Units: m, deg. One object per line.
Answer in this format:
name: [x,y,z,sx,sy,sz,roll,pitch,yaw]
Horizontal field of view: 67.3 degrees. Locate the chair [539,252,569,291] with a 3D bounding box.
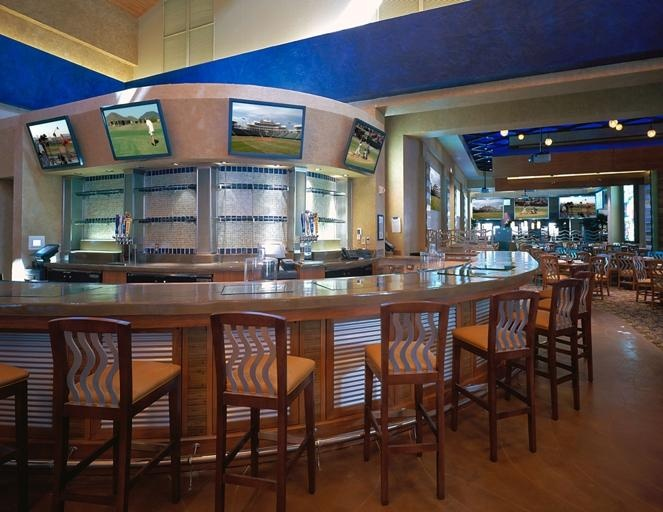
chair: [4.216,0.362,9.194,0.451,0.780,0.586,-1,-4,-25]

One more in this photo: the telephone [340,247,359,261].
telephone: [0.316,-0.022,8.612,0.367,0.234,0.194,4,-10,-39]

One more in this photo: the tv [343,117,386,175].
tv: [0.541,-1.804,8.275,0.118,0.798,1.167,20,9,26]

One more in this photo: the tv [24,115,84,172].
tv: [-4.383,-1.756,7.867,1.115,0.762,0.094,3,20,30]

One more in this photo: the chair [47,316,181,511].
chair: [-1.560,1.129,3.652,0.733,1.445,0.530,-2,2,10]

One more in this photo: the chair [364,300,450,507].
chair: [0.605,1.087,4.178,0.711,1.517,0.987,-2,2,9]

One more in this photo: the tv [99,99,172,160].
tv: [-2.792,-1.799,7.139,1.180,0.810,0.117,4,22,26]

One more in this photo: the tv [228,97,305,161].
tv: [-0.957,-1.832,7.041,0.975,0.657,0.038,0,14,-17]

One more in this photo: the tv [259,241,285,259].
tv: [-0.876,-0.103,7.586,0.387,0.325,0.271,2,1,20]

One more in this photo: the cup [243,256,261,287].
cup: [-0.713,0.143,4.540,0.221,0.243,0.217,0,1,0]

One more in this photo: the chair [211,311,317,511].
chair: [-0.508,1.121,3.853,0.765,1.481,0.797,-2,2,-3]

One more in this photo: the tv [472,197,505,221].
tv: [8.705,-2.676,27.738,1.696,1.239,0.832,-1,2,16]

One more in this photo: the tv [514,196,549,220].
tv: [10.593,-2.578,26.209,1.270,0.862,0.053,0,0,20]

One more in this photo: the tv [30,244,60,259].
tv: [-4.695,-0.093,8.209,0.212,0.101,0.285,18,36,33]
